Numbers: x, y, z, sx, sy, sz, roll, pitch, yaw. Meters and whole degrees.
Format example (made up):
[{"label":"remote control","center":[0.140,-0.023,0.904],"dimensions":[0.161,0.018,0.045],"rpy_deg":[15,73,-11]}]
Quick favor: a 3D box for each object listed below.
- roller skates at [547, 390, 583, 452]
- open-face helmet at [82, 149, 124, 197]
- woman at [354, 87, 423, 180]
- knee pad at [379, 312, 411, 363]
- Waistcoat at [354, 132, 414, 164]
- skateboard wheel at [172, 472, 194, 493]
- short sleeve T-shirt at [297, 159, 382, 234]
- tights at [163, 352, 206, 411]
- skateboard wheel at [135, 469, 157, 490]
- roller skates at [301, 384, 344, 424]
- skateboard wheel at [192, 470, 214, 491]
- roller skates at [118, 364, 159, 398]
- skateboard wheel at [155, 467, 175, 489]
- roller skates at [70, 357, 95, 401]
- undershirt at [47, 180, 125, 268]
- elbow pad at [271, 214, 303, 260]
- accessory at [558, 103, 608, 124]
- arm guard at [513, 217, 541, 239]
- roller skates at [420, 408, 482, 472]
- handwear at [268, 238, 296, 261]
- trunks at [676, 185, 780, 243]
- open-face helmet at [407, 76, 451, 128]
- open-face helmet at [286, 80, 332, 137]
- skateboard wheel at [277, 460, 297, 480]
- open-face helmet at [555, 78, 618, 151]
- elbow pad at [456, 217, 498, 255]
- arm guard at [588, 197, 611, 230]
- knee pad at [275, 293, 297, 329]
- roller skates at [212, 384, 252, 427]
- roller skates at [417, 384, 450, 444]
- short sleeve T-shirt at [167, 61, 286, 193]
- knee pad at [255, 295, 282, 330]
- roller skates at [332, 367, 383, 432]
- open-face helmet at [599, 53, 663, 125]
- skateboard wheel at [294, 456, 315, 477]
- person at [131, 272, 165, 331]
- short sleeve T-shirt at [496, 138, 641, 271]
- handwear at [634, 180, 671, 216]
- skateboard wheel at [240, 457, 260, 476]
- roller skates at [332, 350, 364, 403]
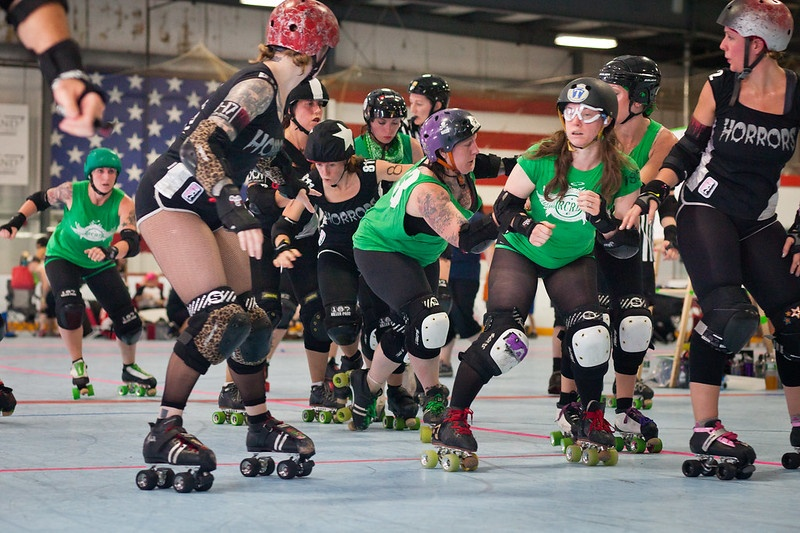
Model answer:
[{"label":"roller skates","center":[1.183,1.070,6.683],"dimensions":[0.177,0.241,0.386],"rpy_deg":[0,0,-7]},{"label":"open-face helmet","center":[-2.829,-0.914,8.940],"dimensions":[0.303,0.423,0.410],"rpy_deg":[2,-1,-17]},{"label":"woman","center":[-0.076,-1.105,7.814],"dimensions":[0.472,0.579,0.659],"rpy_deg":[-8,35,-12]},{"label":"knee pad","center":[-0.044,0.526,7.153],"dimensions":[0.168,0.360,0.275],"rpy_deg":[-3,-41,-13]},{"label":"Waistcoat","center":[-0.128,-1.001,7.948],"dimensions":[0.412,0.181,0.300],"rpy_deg":[5,-9,9]},{"label":"skateboard wheel","center":[-1.251,1.235,5.402],"dimensions":[0.145,0.106,0.057],"rpy_deg":[1,-1,24]},{"label":"short sleeve T-shirt","center":[-0.442,-0.545,7.250],"dimensions":[0.539,0.538,0.307],"rpy_deg":[-10,6,2]},{"label":"tights","center":[-1.310,0.689,5.614],"dimensions":[0.117,0.323,0.249],"rpy_deg":[23,12,5]},{"label":"skateboard wheel","center":[-1.459,1.225,5.409],"dimensions":[0.112,0.113,0.055],"rpy_deg":[-4,0,39]},{"label":"roller skates","center":[-0.610,1.116,7.730],"dimensions":[0.371,0.334,0.257],"rpy_deg":[-7,-8,38]},{"label":"skateboard wheel","center":[-1.140,1.235,5.435],"dimensions":[0.106,0.109,0.090],"rpy_deg":[1,-1,-13]},{"label":"roller skates","center":[-2.515,1.069,8.993],"dimensions":[0.369,0.296,0.224],"rpy_deg":[8,5,20]},{"label":"skateboard wheel","center":[-1.366,1.220,5.435],"dimensions":[0.099,0.100,0.046],"rpy_deg":[-14,-15,31]},{"label":"roller skates","center":[-3.015,1.049,8.856],"dimensions":[0.248,0.350,0.504],"rpy_deg":[-15,9,-17]},{"label":"undershirt","center":[-3.060,-0.415,9.181],"dimensions":[0.663,0.825,0.471],"rpy_deg":[11,12,-40]},{"label":"elbow pad","center":[-0.905,-0.178,7.047],"dimensions":[0.132,0.109,0.358],"rpy_deg":[3,-42,-24]},{"label":"accessory","center":[1.195,-0.963,5.985],"dimensions":[0.302,0.089,0.097],"rpy_deg":[1,-1,7]},{"label":"arm guard","center":[0.793,-0.248,5.898],"dimensions":[0.193,0.104,0.070],"rpy_deg":[1,-1,44]},{"label":"roller skates","center":[0.360,1.126,5.951],"dimensions":[0.201,0.336,0.564],"rpy_deg":[3,-1,-18]},{"label":"handwear","center":[-0.801,-0.121,6.774],"dimensions":[0.240,0.087,0.185],"rpy_deg":[-23,12,-20]},{"label":"trunks","center":[2.184,-0.379,6.026],"dimensions":[0.493,0.398,0.399],"rpy_deg":[11,4,5]},{"label":"open-face helmet","center":[0.247,-1.542,8.673],"dimensions":[0.414,0.492,0.372],"rpy_deg":[1,23,-17]},{"label":"open-face helmet","center":[-0.780,-1.353,7.797],"dimensions":[0.345,0.468,0.449],"rpy_deg":[1,-2,-41]},{"label":"skateboard wheel","center":[-0.679,1.225,5.670],"dimensions":[0.097,0.098,0.060],"rpy_deg":[8,9,33]},{"label":"open-face helmet","center":[1.197,-1.059,6.144],"dimensions":[0.307,0.300,0.368],"rpy_deg":[14,-12,4]},{"label":"elbow pad","center":[0.488,-0.221,6.091],"dimensions":[0.203,0.147,0.259],"rpy_deg":[-6,-18,-43]},{"label":"arm guard","center":[1.256,-0.324,5.920],"dimensions":[0.192,0.163,0.084],"rpy_deg":[2,-1,-23]},{"label":"knee pad","center":[-1.048,0.444,8.661],"dimensions":[0.228,0.196,0.250],"rpy_deg":[-10,17,5]},{"label":"roller skates","center":[-1.304,1.100,7.516],"dimensions":[0.245,0.321,0.413],"rpy_deg":[3,-5,-44]},{"label":"roller skates","center":[0.267,1.061,7.099],"dimensions":[0.188,0.221,0.576],"rpy_deg":[-1,9,-7]},{"label":"short sleeve T-shirt","center":[-0.954,-0.791,5.436],"dimensions":[0.306,0.726,0.849],"rpy_deg":[34,7,19]},{"label":"knee pad","center":[-1.027,0.314,7.448],"dimensions":[0.231,0.326,0.128],"rpy_deg":[1,10,37]},{"label":"roller skates","center":[-0.303,1.054,7.350],"dimensions":[0.320,0.650,0.217],"rpy_deg":[-15,-12,30]},{"label":"open-face helmet","center":[1.648,-1.295,6.960],"dimensions":[0.500,0.512,0.416],"rpy_deg":[5,3,-3]},{"label":"skateboard wheel","center":[-0.580,1.208,5.714],"dimensions":[0.112,0.091,0.113],"rpy_deg":[2,-4,0]},{"label":"person","center":[-4.681,0.799,17.724],"dimensions":[0.508,1.366,0.403],"rpy_deg":[-4,-4,-27]},{"label":"short sleeve T-shirt","center":[1.034,-0.355,6.032],"dimensions":[0.828,0.816,0.353],"rpy_deg":[9,2,-7]},{"label":"handwear","center":[1.602,-0.434,5.976],"dimensions":[0.192,0.252,0.098],"rpy_deg":[43,-25,-13]},{"label":"skateboard wheel","center":[-0.910,1.215,5.708],"dimensions":[0.115,0.116,0.066],"rpy_deg":[1,3,26]},{"label":"roller skates","center":[-0.452,0.906,7.813],"dimensions":[0.171,0.353,0.517],"rpy_deg":[8,22,4]}]
